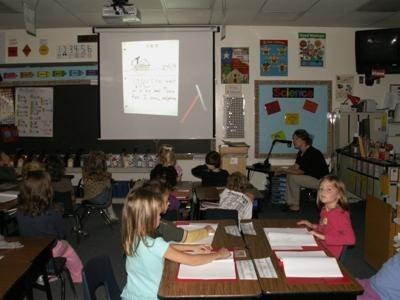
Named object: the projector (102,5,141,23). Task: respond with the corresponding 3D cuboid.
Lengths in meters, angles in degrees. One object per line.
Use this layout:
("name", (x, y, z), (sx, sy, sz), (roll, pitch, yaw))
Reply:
("projector", (-1.072, -1.838, 4.271), (0.432, 0.158, 0.252), (0, 0, 1))

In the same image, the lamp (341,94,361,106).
("lamp", (3.172, -1.020, 6.271), (0.453, 0.234, 0.310), (-1, 11, 2))

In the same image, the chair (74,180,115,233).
("chair", (-1.571, 0.807, 4.614), (0.563, 0.738, 0.550), (1, 8, -30))

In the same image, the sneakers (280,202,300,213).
("sneakers", (1.605, 1.030, 5.383), (0.345, 0.140, 0.121), (-3, 17, 15))
